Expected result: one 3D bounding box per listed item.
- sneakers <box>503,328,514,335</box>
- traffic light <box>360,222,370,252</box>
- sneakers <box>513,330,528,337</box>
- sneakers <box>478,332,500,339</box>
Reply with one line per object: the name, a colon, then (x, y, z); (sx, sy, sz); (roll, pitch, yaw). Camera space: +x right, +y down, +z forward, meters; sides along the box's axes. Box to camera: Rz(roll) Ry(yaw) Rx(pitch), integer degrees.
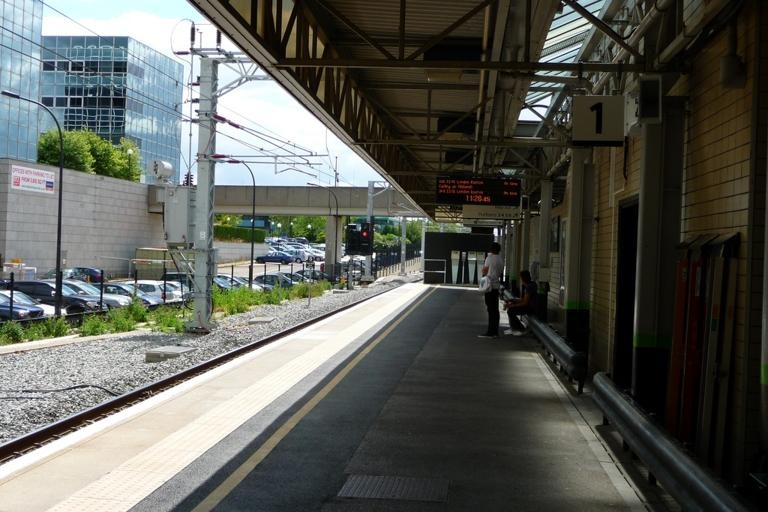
sneakers: (3.682, 2.274, 19.593); (0.134, 0.169, 0.395); (3, 0, -23)
traffic light: (-1.195, -1.211, 45.026); (0.486, 1.812, 0.918); (-2, -1, 35)
sneakers: (3.861, 2.228, 18.768); (0.348, 0.163, 0.123); (4, -1, -4)
sneakers: (2.924, 2.224, 18.412); (0.543, 0.238, 0.193); (-2, -4, 6)
